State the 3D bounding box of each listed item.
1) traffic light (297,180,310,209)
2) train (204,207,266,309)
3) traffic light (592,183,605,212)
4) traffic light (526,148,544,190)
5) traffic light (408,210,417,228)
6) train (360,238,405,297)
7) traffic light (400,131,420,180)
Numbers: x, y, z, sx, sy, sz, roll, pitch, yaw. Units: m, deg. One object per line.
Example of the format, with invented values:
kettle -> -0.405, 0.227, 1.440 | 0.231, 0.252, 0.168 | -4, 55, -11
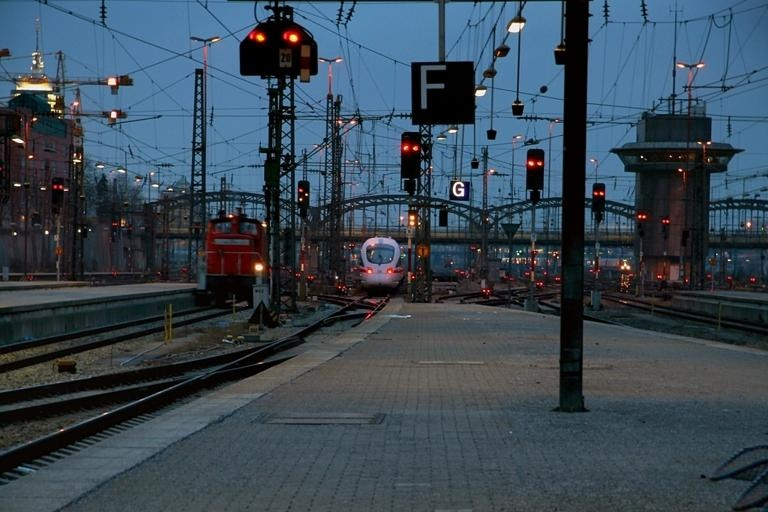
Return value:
traffic light -> -4.086, -3.079, 48.870 | 0.499, 1.370, 0.839 | -2, 5, -11
train -> -7.557, 0.268, 49.132 | 3.123, 4.581, 2.211 | -2, 5, -6
traffic light -> 10.511, -2.807, 47.549 | 0.535, 1.410, 1.074 | 0, 5, 7
traffic light -> 5.916, -3.375, 38.062 | 0.635, 1.608, 1.288 | -1, 5, 6
traffic light -> 1.498, -1.941, 51.106 | 0.415, 0.950, 0.935 | -1, 5, 0
train -> -0.200, 0.725, 62.975 | 2.573, 3.506, 2.542 | 0, 5, 17
traffic light -> 1.008, -3.861, 37.157 | 0.732, 1.768, 0.647 | -1, 5, -4
